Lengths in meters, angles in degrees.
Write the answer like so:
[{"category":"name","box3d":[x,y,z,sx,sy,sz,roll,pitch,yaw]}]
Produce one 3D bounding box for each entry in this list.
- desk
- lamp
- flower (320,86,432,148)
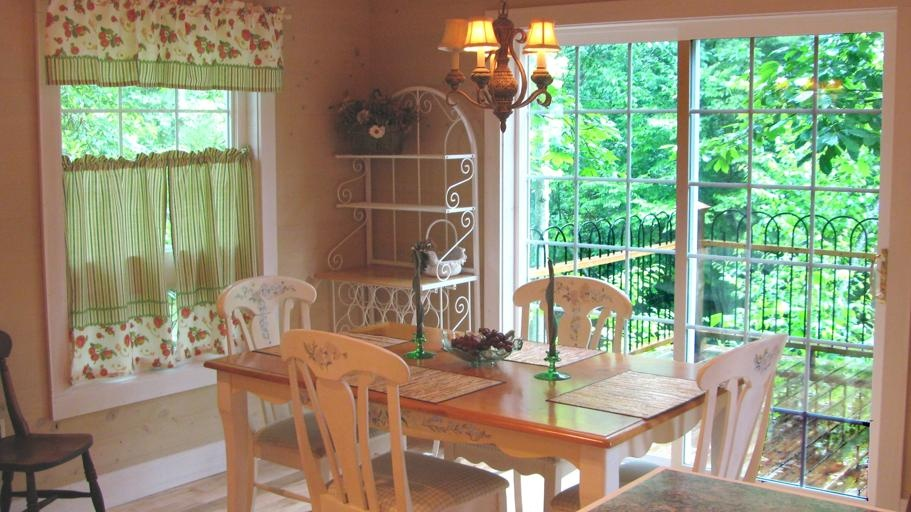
[{"category":"desk","box3d":[0.012,1.009,3.928,2.693,0.938,0.935,1,12,21]},{"category":"lamp","box3d":[0.225,-1.117,4.131,0.609,0.771,1.385,-3,10,0]},{"category":"flower","box3d":[-0.620,-0.994,5.435,0.561,0.390,0.587,-1,8,0]}]
